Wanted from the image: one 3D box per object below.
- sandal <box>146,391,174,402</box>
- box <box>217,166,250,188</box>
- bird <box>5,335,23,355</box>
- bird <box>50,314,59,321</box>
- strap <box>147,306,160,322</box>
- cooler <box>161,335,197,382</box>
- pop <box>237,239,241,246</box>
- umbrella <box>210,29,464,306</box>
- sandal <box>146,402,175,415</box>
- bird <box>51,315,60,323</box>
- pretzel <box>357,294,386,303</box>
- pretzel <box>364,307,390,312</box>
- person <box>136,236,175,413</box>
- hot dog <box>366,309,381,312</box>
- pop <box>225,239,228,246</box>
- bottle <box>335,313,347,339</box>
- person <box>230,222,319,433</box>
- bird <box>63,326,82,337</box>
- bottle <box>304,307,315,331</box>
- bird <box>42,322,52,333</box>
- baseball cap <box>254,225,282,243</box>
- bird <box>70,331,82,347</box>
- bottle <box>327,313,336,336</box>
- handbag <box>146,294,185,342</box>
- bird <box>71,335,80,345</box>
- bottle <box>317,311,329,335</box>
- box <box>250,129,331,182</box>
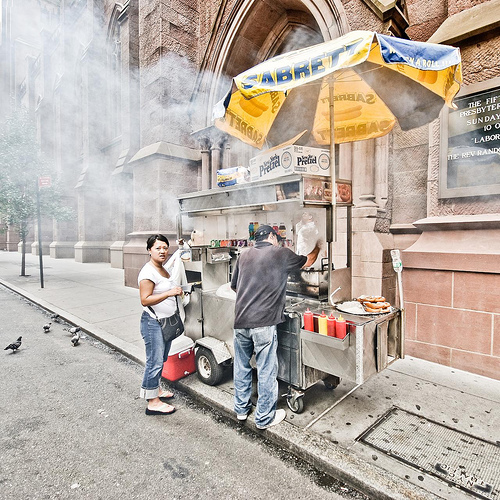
[{"bbox_3d":[-1.195,1.944,5.419,0.287,0.089,0.114,-5,-5,12],"label":"sandal"},{"bbox_3d":[-0.226,-1.165,6.552,0.352,0.306,0.847,-8,14,-26],"label":"box"},{"bbox_3d":[-3.967,1.611,6.871,0.297,0.225,0.152,-6,4,-14],"label":"bird"},{"bbox_3d":[-4.241,1.458,8.853,0.300,0.149,0.103,0,-11,38],"label":"bird"},{"bbox_3d":[-1.169,0.777,4.945,0.042,0.164,0.087,-36,1,-20],"label":"strap"},{"bbox_3d":[-1.019,1.554,5.884,0.467,0.488,0.458,-11,9,-28],"label":"cooler"},{"bbox_3d":[-0.187,-0.130,6.849,0.074,0.152,0.078,0,-8,14],"label":"pop"},{"bbox_3d":[1.063,-1.301,5.105,2.979,2.432,3.424,-4,5,-5],"label":"umbrella"},{"bbox_3d":[-1.100,1.956,5.088,0.339,0.139,0.129,2,0,-17],"label":"sandal"},{"bbox_3d":[-4.165,1.463,8.783,0.144,0.126,0.204,-7,13,-23],"label":"bird"},{"bbox_3d":[1.650,0.657,5.509,0.201,0.067,0.226,0,-1,4],"label":"pretzel"},{"bbox_3d":[1.534,0.714,4.884,0.288,0.037,0.121,0,13,10],"label":"pretzel"},{"bbox_3d":[-1.251,0.892,5.349,0.540,2.202,1.069,-5,12,-14],"label":"person"},{"bbox_3d":[1.477,0.720,4.864,0.167,0.029,0.058,1,13,15],"label":"hot dog"},{"bbox_3d":[-0.403,-0.122,7.139,0.062,0.113,0.067,-3,-1,36],"label":"pop"},{"bbox_3d":[1.028,0.875,4.535,0.106,0.204,0.173,-6,12,-21],"label":"bottle"},{"bbox_3d":[0.279,0.855,5.271,1.175,2.323,0.890,-6,8,-40],"label":"person"},{"bbox_3d":[-3.364,1.556,7.767,0.345,0.165,0.153,-8,-7,15],"label":"bird"},{"bbox_3d":[0.698,0.839,4.827,0.111,0.204,0.171,-5,12,-14],"label":"bottle"},{"bbox_3d":[-4.003,1.515,8.073,0.134,0.279,0.422,8,-22,-28],"label":"bird"},{"bbox_3d":[0.194,-0.197,5.029,0.232,0.135,0.158,-4,5,-29],"label":"baseball cap"},{"bbox_3d":[-3.135,1.614,7.329,0.129,0.250,0.339,2,-14,-11],"label":"bird"},{"bbox_3d":[0.933,0.866,4.609,0.108,0.186,0.102,-2,11,0],"label":"bottle"},{"bbox_3d":[-1.035,0.858,5.172,0.355,0.563,0.239,-22,1,-42],"label":"handbag"},{"bbox_3d":[-3.064,1.592,7.213,0.075,0.178,0.174,5,-40,-19],"label":"bird"},{"bbox_3d":[0.845,0.854,4.697,0.099,0.194,0.231,-3,12,-7],"label":"bottle"},{"bbox_3d":[0.501,-1.125,5.328,1.068,0.452,0.660,2,12,15],"label":"box"}]
